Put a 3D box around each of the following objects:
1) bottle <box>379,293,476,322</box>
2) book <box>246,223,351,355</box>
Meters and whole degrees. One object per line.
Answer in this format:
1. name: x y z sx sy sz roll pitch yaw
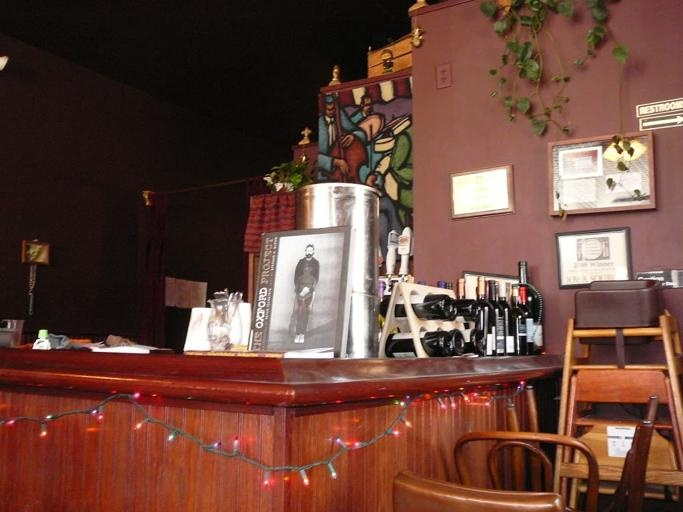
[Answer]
1. bottle: 0.395 0.212 2.253 0.213 0.066 0.194 0 -2 -42
2. book: -0.121 0.109 1.647 0.411 0.550 0.061 -3 -26 13
